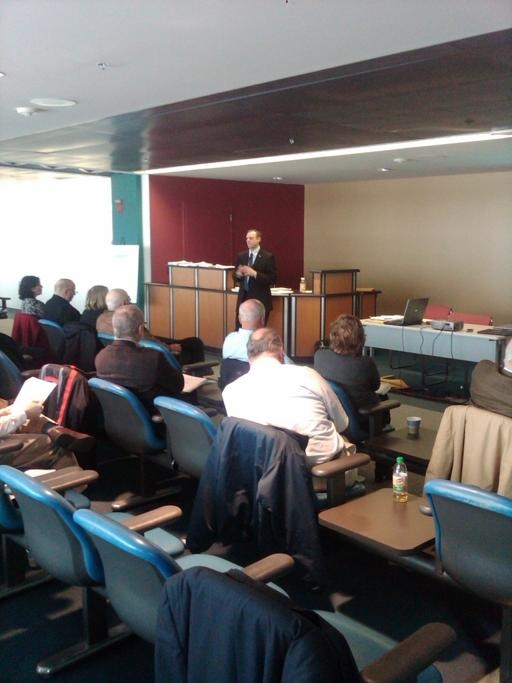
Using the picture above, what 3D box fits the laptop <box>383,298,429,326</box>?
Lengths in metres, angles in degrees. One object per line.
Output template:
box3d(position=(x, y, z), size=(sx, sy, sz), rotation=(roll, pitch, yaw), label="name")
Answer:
box3d(position=(1.838, -0.367, 6.544), size=(0.378, 0.307, 0.455), rotation=(4, 5, 33), label="laptop")

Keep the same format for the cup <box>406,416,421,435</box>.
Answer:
box3d(position=(0.982, 0.533, 3.374), size=(0.110, 0.107, 0.105), rotation=(-2, 5, 0), label="cup")
